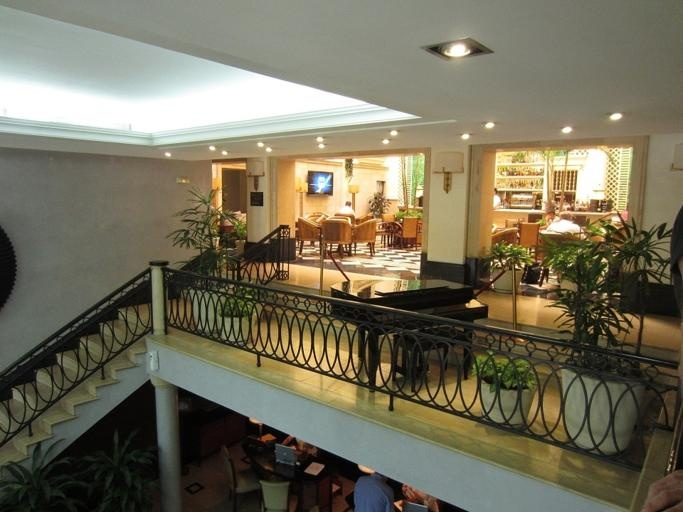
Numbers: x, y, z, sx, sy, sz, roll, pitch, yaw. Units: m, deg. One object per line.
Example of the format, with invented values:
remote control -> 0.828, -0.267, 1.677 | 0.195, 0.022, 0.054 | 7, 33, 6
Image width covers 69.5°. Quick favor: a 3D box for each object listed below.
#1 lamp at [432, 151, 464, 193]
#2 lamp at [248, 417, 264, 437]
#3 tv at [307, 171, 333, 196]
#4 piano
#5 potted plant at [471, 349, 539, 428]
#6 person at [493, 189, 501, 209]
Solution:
lamp -> 1.803, -1.468, 8.186 | 0.418, 0.674, 1.345 | 4, 9, 16
lamp -> -1.843, 3.767, 10.642 | 0.240, 0.373, 0.765 | -3, 10, -21
tv -> -0.849, -2.832, 18.651 | 0.330, 0.927, 1.491 | 6, 10, 31
piano -> 0.747, 0.711, 5.921 | 1.733, 1.056, 1.223 | -3, 5, -35
potted plant -> 1.739, 1.435, 5.128 | 0.513, 0.515, 0.516 | 13, -11, -42
person -> 4.971, -1.888, 15.616 | 0.206, 0.571, 0.916 | 4, 10, 18
